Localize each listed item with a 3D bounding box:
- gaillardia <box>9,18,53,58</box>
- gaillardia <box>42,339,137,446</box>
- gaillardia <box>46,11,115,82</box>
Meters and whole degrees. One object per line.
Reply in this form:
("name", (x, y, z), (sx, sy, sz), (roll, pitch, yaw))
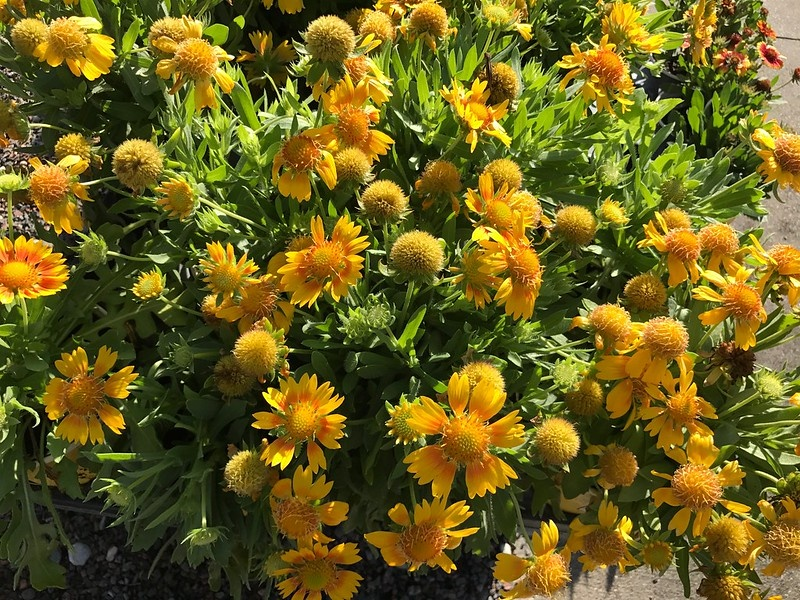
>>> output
("gaillardia", (-1.366, -0.949, 2.349), (0.092, 0.147, 0.275), (13, 20, -40))
("gaillardia", (-1.082, 0.319, 2.203), (0.317, 0.159, 0.352), (-1, 55, 8))
("gaillardia", (-1.137, -0.892, 2.280), (0.241, 0.098, 0.235), (-30, 92, -33))
